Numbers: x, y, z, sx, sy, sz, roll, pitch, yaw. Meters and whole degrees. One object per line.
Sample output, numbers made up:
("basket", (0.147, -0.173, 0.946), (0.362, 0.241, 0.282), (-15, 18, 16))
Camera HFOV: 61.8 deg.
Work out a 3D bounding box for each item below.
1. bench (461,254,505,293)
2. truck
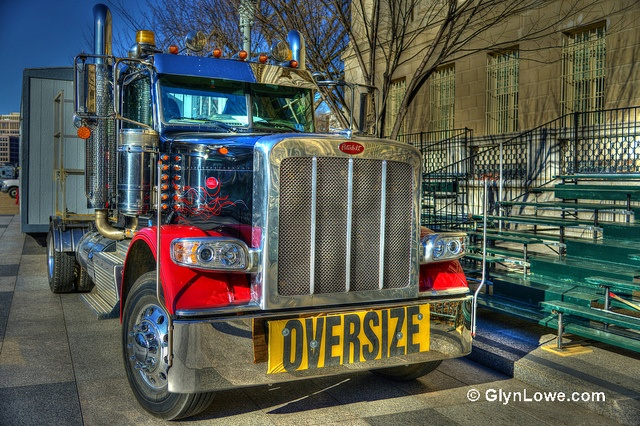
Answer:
("bench", (3.049, 1.071, 9.880), (0.707, 0.592, 1.123), (-2, 4, -14))
("truck", (-1.591, -0.081, 8.881), (3.380, 4.159, 7.479), (0, -1, -29))
